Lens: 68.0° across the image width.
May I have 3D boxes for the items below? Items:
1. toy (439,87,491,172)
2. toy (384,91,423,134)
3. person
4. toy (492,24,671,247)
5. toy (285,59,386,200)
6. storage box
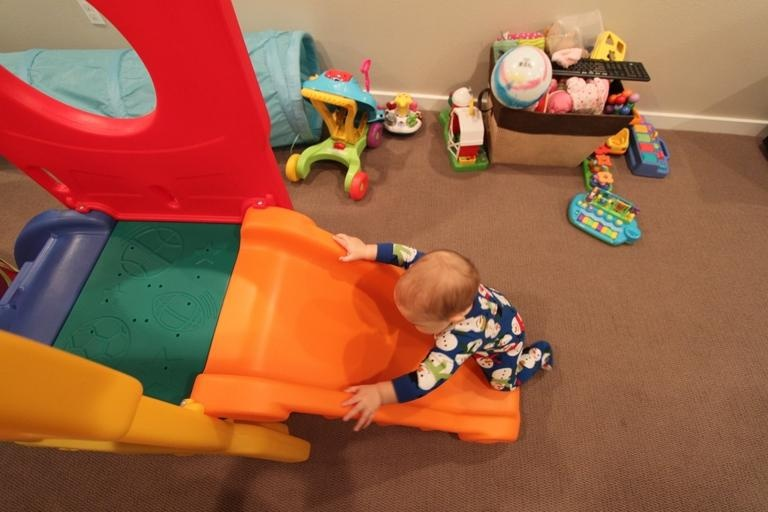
[{"bbox_3d":[0.390,-0.588,2.664,0.175,0.245,0.421,-6,62,-1],"label":"toy"},{"bbox_3d":[0.086,-0.674,2.771,0.190,0.163,0.189,-8,63,-6],"label":"toy"},{"bbox_3d":[0.248,0.245,2.039,0.782,0.654,0.656,-6,63,4],"label":"person"},{"bbox_3d":[0.910,-0.499,2.697,0.766,0.672,0.995,5,66,1],"label":"toy"},{"bbox_3d":[-0.168,-0.683,2.689,0.387,0.445,0.695,13,38,9],"label":"toy"},{"bbox_3d":[0.778,-0.661,2.675,0.513,0.329,0.414,6,53,12],"label":"storage box"}]
